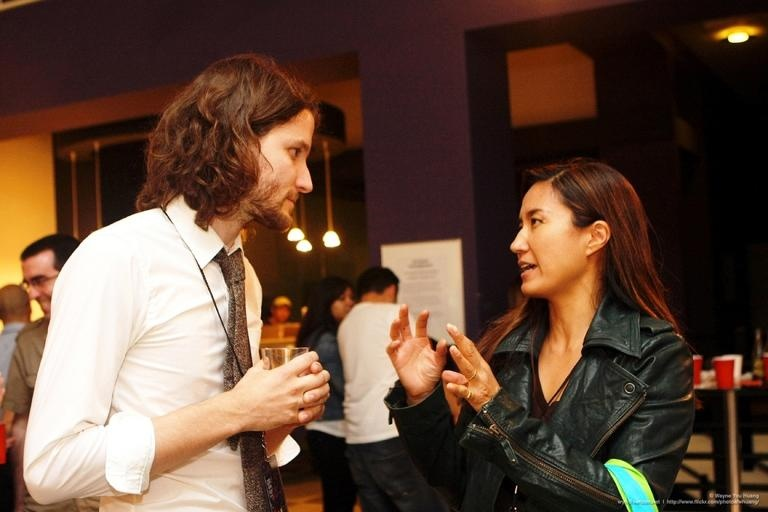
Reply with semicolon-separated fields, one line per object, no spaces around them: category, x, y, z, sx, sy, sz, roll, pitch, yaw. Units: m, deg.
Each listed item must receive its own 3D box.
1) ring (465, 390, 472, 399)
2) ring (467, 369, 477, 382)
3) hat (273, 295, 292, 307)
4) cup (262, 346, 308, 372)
ring;0.305;0.510;2.423;0.012;0.030;0.025;7;6;-17
ring;0.322;0.438;2.422;0.009;0.032;0.033;28;-25;-6
hat;-1.520;0.685;9.874;0.188;0.145;0.194;0;-2;-10
cup;-0.360;0.361;2.366;0.156;0.076;0.184;-3;-8;-16
